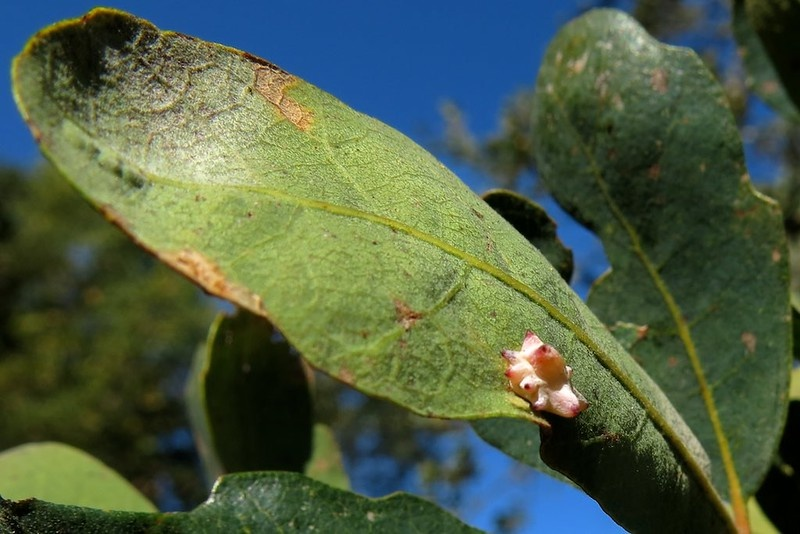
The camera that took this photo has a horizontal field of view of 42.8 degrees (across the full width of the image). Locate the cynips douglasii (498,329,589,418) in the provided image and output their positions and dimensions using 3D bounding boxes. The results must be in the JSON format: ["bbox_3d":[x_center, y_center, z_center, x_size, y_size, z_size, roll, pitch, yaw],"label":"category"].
[{"bbox_3d":[0.372,0.295,2.631,0.161,0.083,0.218,-39,99,-26],"label":"cynips douglasii"}]
